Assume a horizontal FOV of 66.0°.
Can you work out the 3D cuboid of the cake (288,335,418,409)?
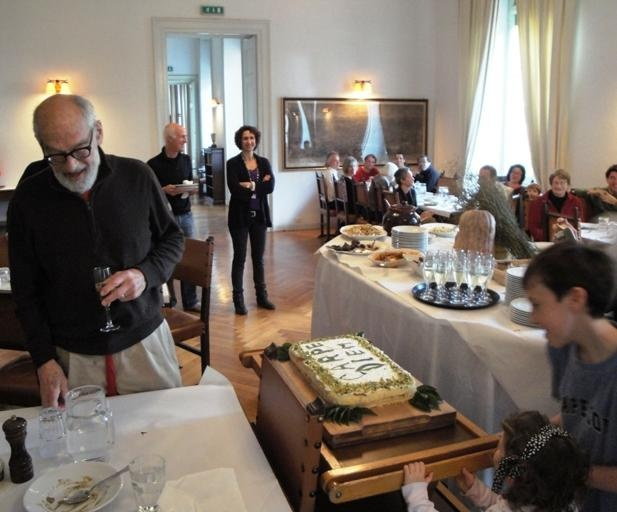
[{"bbox_3d":[0.116,0.332,1.421,0.291,0.097,0.360,-7,15,-27],"label":"cake"}]

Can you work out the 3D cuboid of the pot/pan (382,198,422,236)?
[{"bbox_3d":[0.606,-0.255,3.057,0.213,0.176,0.174,4,8,-7],"label":"pot/pan"}]

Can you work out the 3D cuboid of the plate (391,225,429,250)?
[{"bbox_3d":[0.608,-0.106,2.809,0.154,0.079,0.155,-4,7,-36],"label":"plate"}]

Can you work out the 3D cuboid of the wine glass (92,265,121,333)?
[{"bbox_3d":[-0.667,0.152,1.570,0.063,0.245,0.124,-6,14,-25],"label":"wine glass"}]

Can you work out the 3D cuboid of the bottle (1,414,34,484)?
[{"bbox_3d":[-0.714,0.472,1.166,0.053,0.138,0.098,-9,16,-35],"label":"bottle"}]

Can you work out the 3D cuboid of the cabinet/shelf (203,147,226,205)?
[{"bbox_3d":[-2.342,-2.019,11.921,0.387,1.431,1.400,-1,7,-12],"label":"cabinet/shelf"}]

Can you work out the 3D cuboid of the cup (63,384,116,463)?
[{"bbox_3d":[-0.542,0.422,1.177,0.101,0.181,0.100,0,13,0],"label":"cup"}]

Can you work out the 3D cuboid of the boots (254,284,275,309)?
[{"bbox_3d":[-0.445,0.420,4.693,0.109,0.249,0.296,-6,10,-38],"label":"boots"}]

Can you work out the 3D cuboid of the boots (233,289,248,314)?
[{"bbox_3d":[-0.660,0.462,4.472,0.086,0.185,0.278,-2,7,-15],"label":"boots"}]

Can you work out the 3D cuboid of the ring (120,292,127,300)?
[{"bbox_3d":[-0.599,0.129,1.550,0.024,0.020,0.025,1,13,0],"label":"ring"}]

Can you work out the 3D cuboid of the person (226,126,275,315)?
[{"bbox_3d":[-0.551,-0.362,4.610,0.447,1.745,0.607,-2,13,-8],"label":"person"}]

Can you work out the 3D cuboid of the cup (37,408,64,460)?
[{"bbox_3d":[-0.688,0.455,1.268,0.066,0.114,0.146,-8,15,-30],"label":"cup"}]
